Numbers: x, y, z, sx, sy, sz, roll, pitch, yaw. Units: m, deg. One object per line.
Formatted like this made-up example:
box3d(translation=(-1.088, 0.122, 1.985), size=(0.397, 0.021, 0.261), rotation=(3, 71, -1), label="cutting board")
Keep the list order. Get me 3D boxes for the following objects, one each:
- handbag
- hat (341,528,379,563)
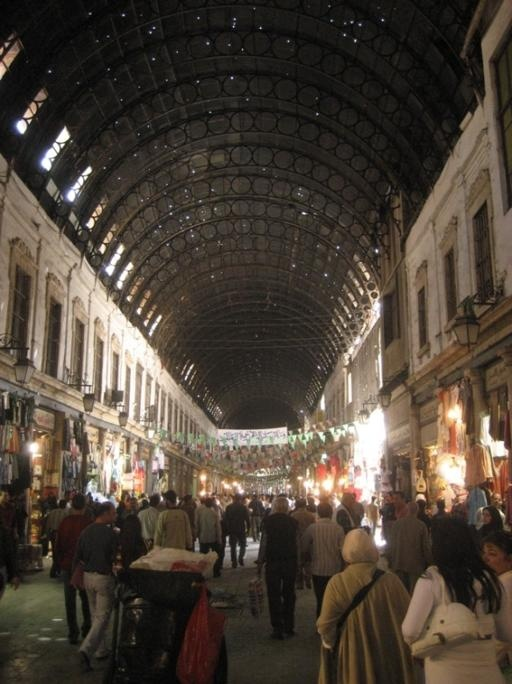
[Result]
box3d(translation=(0.785, 1.224, 2.142), size=(0.240, 0.209, 0.103), rotation=(-21, -65, 14), label="handbag")
box3d(translation=(0.621, 1.231, 3.165), size=(0.161, 0.260, 0.237), rotation=(7, -17, 0), label="hat")
